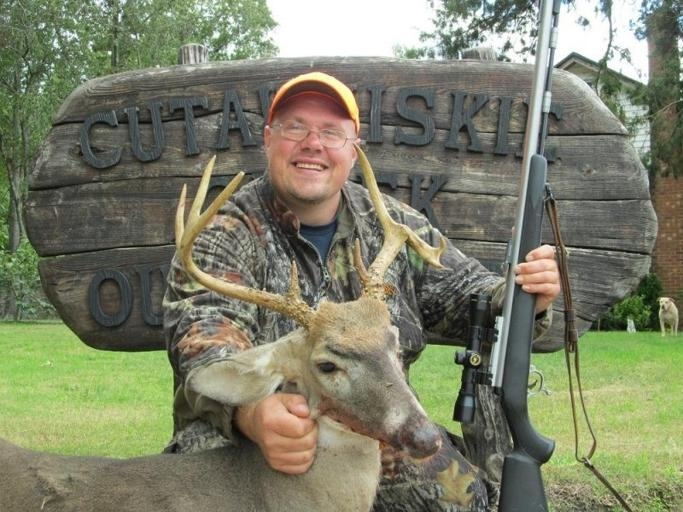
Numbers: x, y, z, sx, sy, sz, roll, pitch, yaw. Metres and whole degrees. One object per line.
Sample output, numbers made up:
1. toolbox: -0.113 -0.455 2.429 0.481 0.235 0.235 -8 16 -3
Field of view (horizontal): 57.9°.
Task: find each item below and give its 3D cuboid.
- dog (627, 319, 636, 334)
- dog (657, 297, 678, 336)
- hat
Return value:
1. dog: 8.522 2.075 18.112 0.174 0.303 0.286 -14 -46 24
2. dog: 9.004 1.695 17.064 0.419 0.840 1.426 -7 -28 25
3. hat: -0.138 -1.142 4.563 0.697 0.425 0.923 2 23 3
